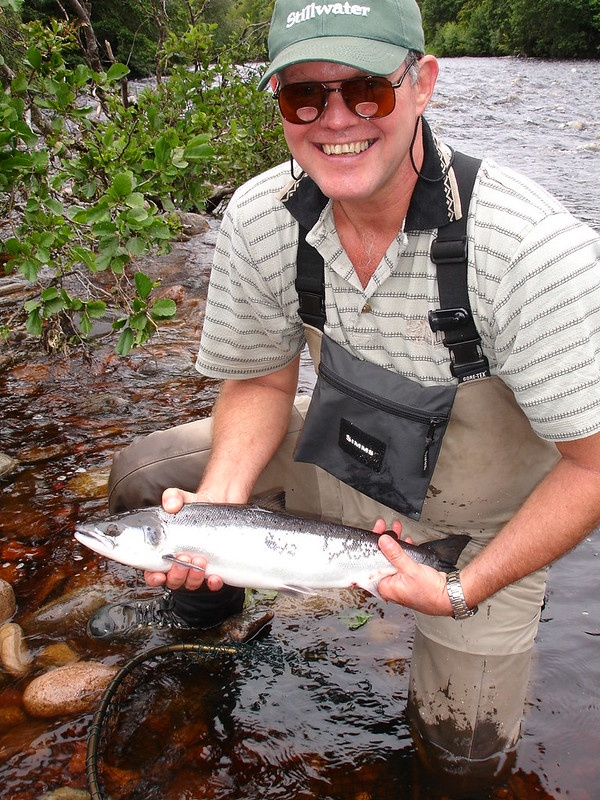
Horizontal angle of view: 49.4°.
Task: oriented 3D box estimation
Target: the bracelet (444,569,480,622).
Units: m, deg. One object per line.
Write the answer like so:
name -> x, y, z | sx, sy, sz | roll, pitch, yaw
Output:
bracelet -> 0.534, 0.671, 2.216 | 0.120, 0.153, 0.178 | -10, -3, 5

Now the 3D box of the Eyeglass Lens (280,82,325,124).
Eyeglass Lens -> 0.009, -0.958, 2.094 | 0.133, 0.053, 0.123 | 3, 31, 9
